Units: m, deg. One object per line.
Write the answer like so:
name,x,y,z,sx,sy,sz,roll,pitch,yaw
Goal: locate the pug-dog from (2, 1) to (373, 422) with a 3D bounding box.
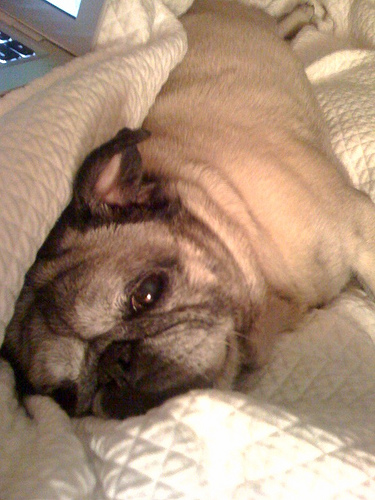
pug-dog,0.078,-0.076,1.517,0.554,0.751,1.219,30,53,-22
